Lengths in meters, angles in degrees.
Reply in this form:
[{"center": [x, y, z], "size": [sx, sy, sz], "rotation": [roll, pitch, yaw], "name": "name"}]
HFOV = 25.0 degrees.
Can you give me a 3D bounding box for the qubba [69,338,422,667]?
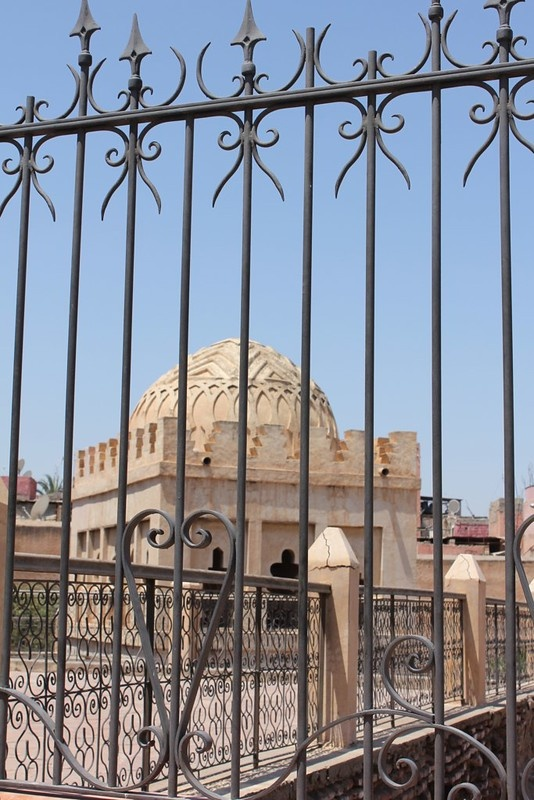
[{"center": [-0.351, 0.609, 20.901], "size": [5.887, 5.823, 5.954], "rotation": [-2, -18, 8], "name": "qubba"}]
